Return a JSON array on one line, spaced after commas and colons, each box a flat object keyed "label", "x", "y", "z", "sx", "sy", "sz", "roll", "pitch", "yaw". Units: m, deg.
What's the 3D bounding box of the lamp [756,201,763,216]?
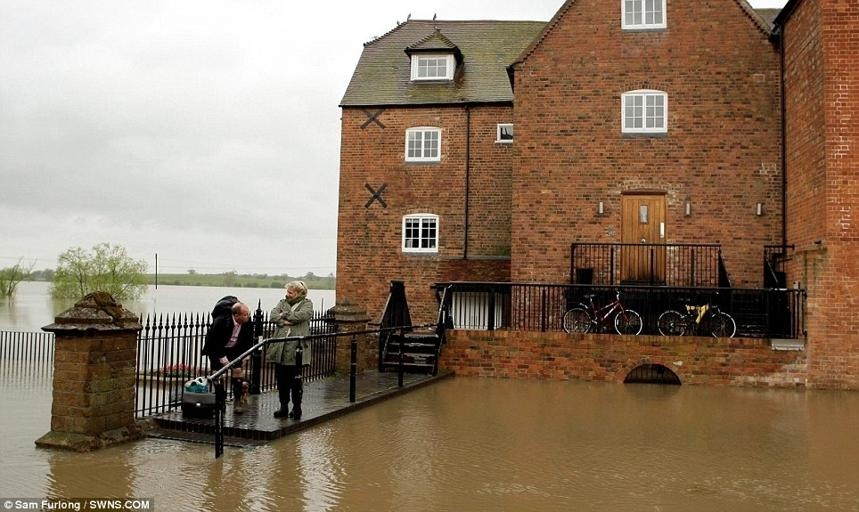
[{"label": "lamp", "x": 10.801, "y": -1.541, "z": 26.466, "sx": 0.211, "sy": 0.436, "sz": 0.128, "roll": 1, "pitch": 13, "yaw": -6}]

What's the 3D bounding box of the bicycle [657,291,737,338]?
[{"label": "bicycle", "x": 8.333, "y": 1.937, "z": 25.195, "sx": 2.312, "sy": 1.272, "sz": 1.607, "roll": 5, "pitch": 13, "yaw": 16}]

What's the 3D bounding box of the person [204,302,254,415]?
[{"label": "person", "x": -4.573, "y": 2.286, "z": 18.604, "sx": 1.070, "sy": 2.549, "sz": 1.028, "roll": 6, "pitch": 13, "yaw": 19}]

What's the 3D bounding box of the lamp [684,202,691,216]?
[{"label": "lamp", "x": 8.545, "y": -1.561, "z": 26.812, "sx": 0.200, "sy": 0.440, "sz": 0.176, "roll": 3, "pitch": 13, "yaw": 3}]

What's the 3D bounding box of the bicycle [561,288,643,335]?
[{"label": "bicycle", "x": 5.522, "y": 1.901, "z": 25.997, "sx": 2.733, "sy": 1.447, "sz": 1.284, "roll": -1, "pitch": -3, "yaw": 9}]

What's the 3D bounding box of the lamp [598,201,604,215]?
[{"label": "lamp", "x": 5.760, "y": -1.610, "z": 27.135, "sx": 0.209, "sy": 0.443, "sz": 0.171, "roll": -8, "pitch": 16, "yaw": -39}]
